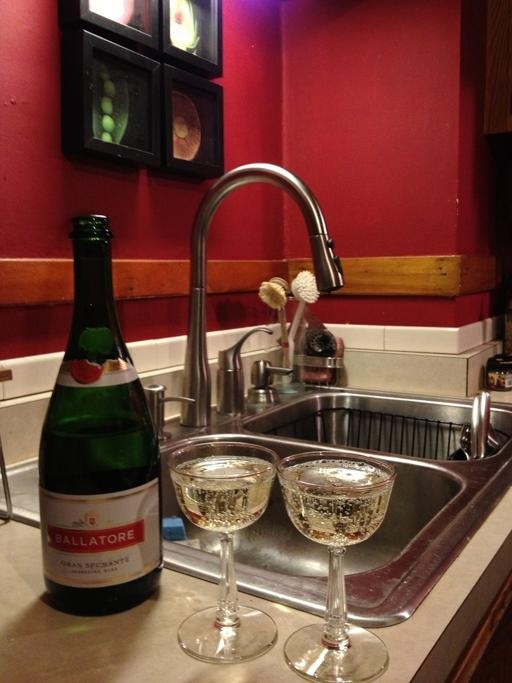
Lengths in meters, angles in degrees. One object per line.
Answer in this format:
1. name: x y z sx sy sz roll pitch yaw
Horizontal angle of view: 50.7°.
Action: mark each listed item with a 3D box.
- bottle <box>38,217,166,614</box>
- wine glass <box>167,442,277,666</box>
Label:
1. bottle: -0.121 0.057 0.433 0.096 0.313 0.103 0 3 0
2. wine glass: -0.025 0.148 0.419 0.081 0.132 0.137 -1 4 -16
